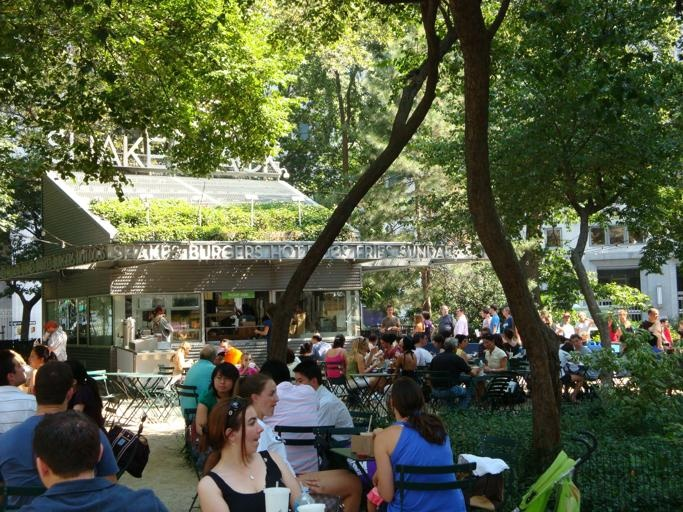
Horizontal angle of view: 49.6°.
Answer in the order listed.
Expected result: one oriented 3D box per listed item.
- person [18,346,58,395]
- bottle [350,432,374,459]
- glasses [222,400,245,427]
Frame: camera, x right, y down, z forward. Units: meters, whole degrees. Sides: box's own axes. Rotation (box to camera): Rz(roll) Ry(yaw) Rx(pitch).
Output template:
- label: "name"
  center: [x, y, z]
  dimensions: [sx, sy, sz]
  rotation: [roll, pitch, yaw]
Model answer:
- label: "person"
  center: [-4.710, 1.838, 11.419]
  dimensions: [0.402, 0.985, 0.276]
  rotation: [7, 13, -35]
- label: "bottle"
  center: [0.260, 2.076, 8.104]
  dimensions: [0.205, 0.147, 0.222]
  rotation: [1, 1, 0]
- label: "glasses"
  center: [-0.916, 1.324, 6.231]
  dimensions: [0.071, 0.200, 0.146]
  rotation: [11, -3, -6]
